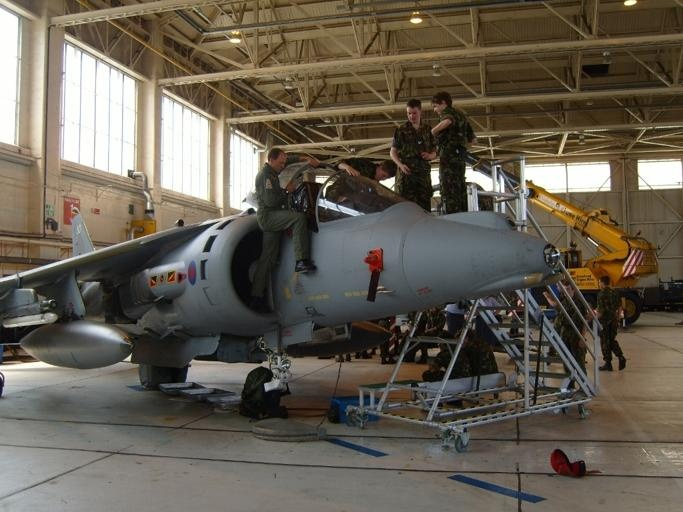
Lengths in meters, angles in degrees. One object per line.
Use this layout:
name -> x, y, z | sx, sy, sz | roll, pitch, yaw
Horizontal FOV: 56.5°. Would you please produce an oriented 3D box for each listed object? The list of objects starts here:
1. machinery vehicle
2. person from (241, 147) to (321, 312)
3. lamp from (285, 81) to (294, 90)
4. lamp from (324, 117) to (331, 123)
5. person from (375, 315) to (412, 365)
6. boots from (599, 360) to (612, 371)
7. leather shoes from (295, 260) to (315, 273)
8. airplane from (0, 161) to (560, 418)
machinery vehicle -> 6.710, -0.529, 21.999 | 10.013, 4.380, 2.674 | 8, 10, -27
person -> -0.858, -0.418, 9.062 | 0.821, 2.379, 1.165 | -4, 5, -37
lamp -> -1.994, -6.538, 24.219 | 0.358, 0.210, 0.327 | -8, 15, -18
lamp -> -0.779, -6.822, 31.649 | 0.271, 0.305, 0.679 | -1, 4, -1
person -> 1.046, 1.755, 13.185 | 0.755, 0.425, 1.989 | 10, -15, -2
boots -> 5.396, 2.189, 12.949 | 0.254, 0.233, 0.348 | 1, 4, 22
leather shoes -> -0.488, 0.118, 8.648 | 0.275, 0.186, 0.104 | -1, 4, -2
airplane -> -1.168, 0.370, 9.015 | 5.133, 1.484, 4.860 | -2, 2, 30
